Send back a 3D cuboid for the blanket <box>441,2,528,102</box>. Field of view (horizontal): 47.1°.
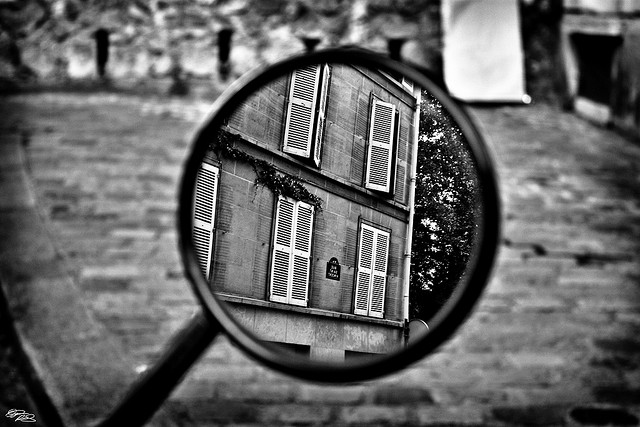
[{"bbox_3d":[0.683,-0.683,3.064,0.335,0.063,0.434,-4,83,-1],"label":"blanket"}]
